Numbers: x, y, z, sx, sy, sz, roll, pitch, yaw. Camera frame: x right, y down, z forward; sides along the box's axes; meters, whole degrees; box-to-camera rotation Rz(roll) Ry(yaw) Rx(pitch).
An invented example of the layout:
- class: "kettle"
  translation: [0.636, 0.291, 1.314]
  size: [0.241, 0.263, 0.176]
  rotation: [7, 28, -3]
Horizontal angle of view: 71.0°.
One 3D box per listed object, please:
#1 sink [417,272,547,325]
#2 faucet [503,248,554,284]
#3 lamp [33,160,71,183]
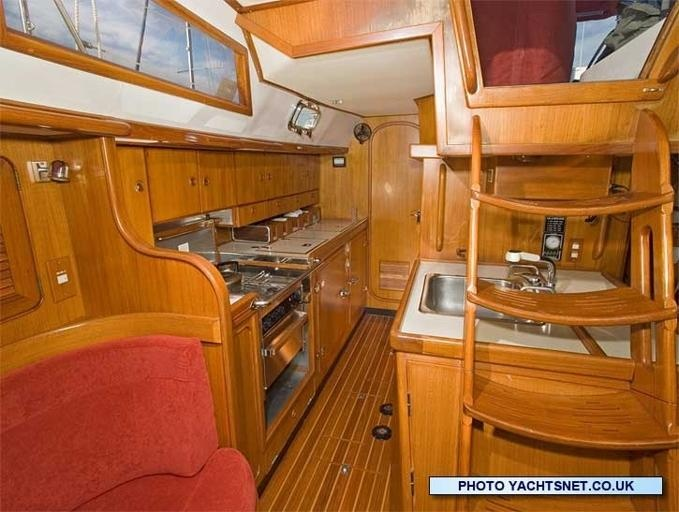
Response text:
- class: "sink"
  translation: [0.660, 0.236, 2.805]
  size: [0.493, 0.297, 0.173]
  rotation: [7, -64, 20]
- class: "faucet"
  translation: [1.092, 0.060, 2.726]
  size: [0.118, 0.367, 0.135]
  rotation: [-8, -73, -6]
- class: "lamp"
  translation: [-1.230, -0.360, 2.043]
  size: [0.118, 0.085, 0.086]
  rotation: [-2, -73, -15]
